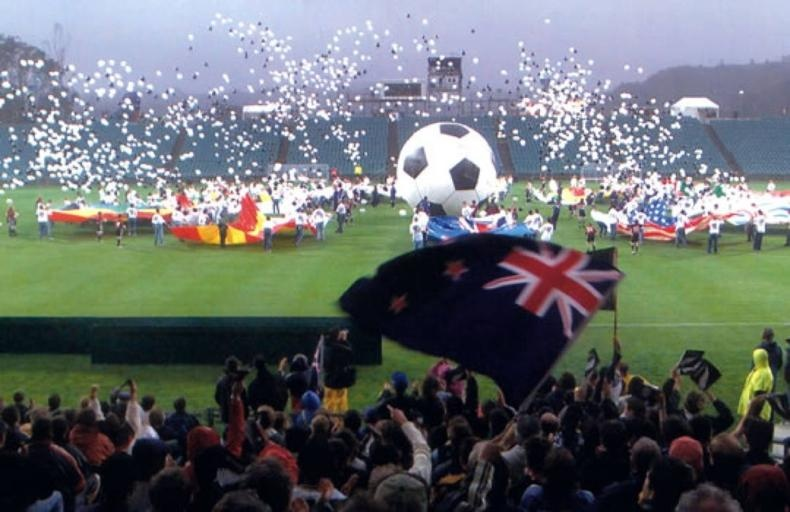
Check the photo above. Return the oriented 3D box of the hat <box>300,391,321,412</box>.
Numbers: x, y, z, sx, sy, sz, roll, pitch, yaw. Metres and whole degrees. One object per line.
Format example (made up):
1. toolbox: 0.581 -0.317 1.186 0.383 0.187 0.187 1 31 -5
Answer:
1. hat: -2.686 4.674 36.981 0.536 0.632 0.398 -1 6 4
